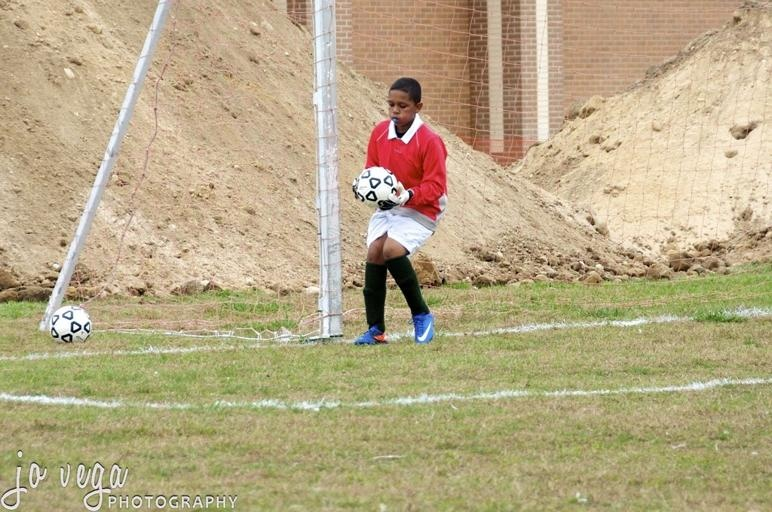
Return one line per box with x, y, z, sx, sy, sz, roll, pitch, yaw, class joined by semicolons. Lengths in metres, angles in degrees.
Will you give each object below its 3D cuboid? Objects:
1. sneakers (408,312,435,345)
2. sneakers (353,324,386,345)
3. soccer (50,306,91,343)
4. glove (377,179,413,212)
0.486;0.950;21.521;0.187;0.457;0.243;-2;2;35;sneakers
-0.164;1.057;21.426;0.487;0.202;0.188;0;-2;-16;sneakers
-4.200;0.906;21.539;0.532;0.427;0.316;5;13;-10;soccer
0.161;-0.754;21.288;0.317;0.158;0.404;-22;-18;-46;glove
